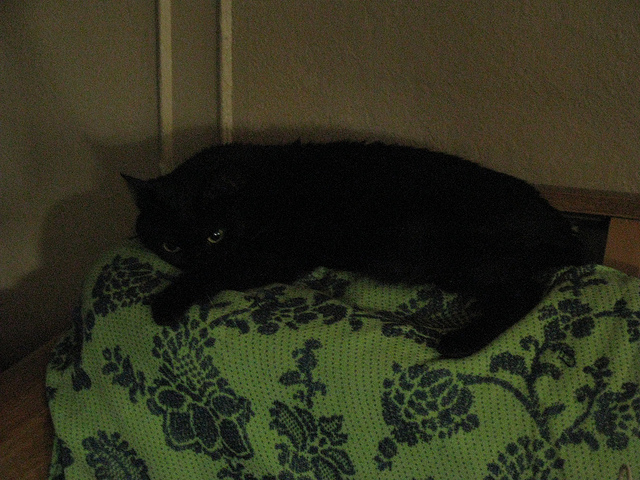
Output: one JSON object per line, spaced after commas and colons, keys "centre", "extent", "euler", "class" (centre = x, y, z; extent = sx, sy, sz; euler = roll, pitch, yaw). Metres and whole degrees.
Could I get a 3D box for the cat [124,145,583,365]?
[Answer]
{"centre": [0.088, -0.031, 1.610], "extent": [0.858, 0.252, 0.568], "euler": [6, 35, 12], "class": "cat"}
